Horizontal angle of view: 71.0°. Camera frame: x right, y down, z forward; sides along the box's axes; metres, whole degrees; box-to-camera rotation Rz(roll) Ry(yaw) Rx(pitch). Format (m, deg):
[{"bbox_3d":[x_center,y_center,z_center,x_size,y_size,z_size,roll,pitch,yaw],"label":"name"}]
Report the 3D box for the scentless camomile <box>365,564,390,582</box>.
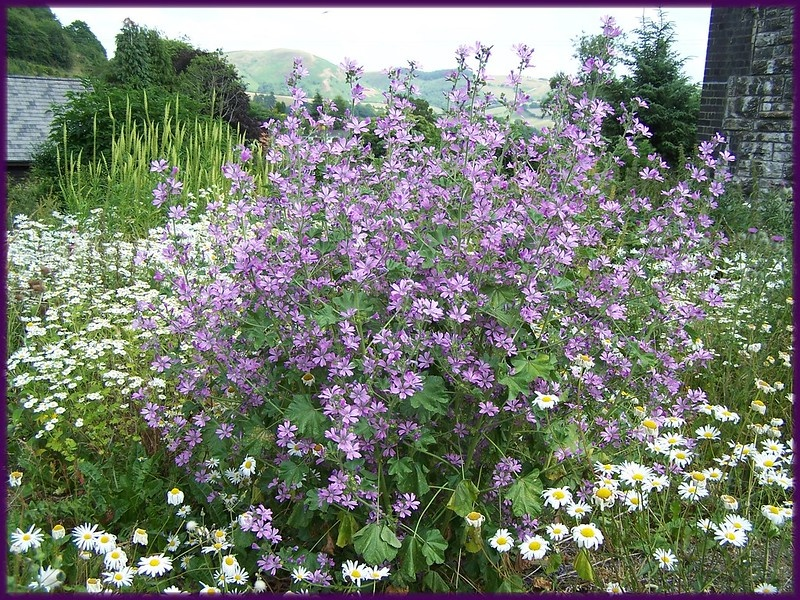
[{"bbox_3d":[-0.114,1.370,2.820,0.111,0.045,0.114,-5,-7,40],"label":"scentless camomile"}]
